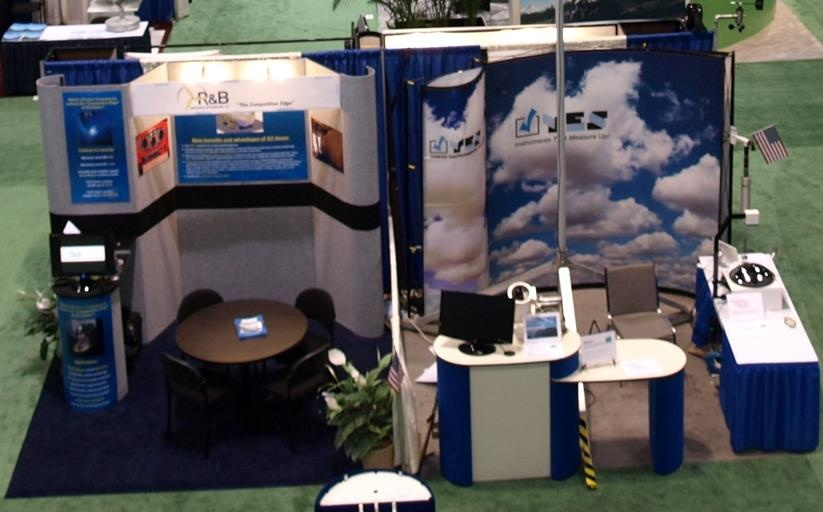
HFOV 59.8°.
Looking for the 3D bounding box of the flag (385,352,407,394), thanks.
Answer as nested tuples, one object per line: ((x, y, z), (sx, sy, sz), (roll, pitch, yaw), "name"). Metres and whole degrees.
((-0.152, 1.217, 7.181), (0.163, 0.375, 0.334), (-2, 25, -3), "flag")

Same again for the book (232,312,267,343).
((-1.857, 0.841, 8.259), (0.268, 0.075, 0.267), (-5, 45, -18), "book")

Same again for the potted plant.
((-0.577, 1.723, 7.484), (0.806, 1.134, 0.732), (-23, 33, -30), "potted plant")

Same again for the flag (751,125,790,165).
((4.273, -1.327, 8.591), (0.383, 0.482, 0.252), (11, 27, 23), "flag")

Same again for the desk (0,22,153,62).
((-6.709, -4.185, 14.102), (3.151, 0.658, 0.895), (6, 26, 13), "desk")

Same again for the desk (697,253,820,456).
((3.714, 1.163, 7.800), (0.953, 0.968, 2.003), (-5, 48, 4), "desk")

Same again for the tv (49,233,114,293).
((-3.669, 0.099, 8.290), (0.708, 0.702, 0.663), (1, 16, -3), "tv")

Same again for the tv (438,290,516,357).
((0.651, 0.701, 7.089), (0.626, 0.451, 0.227), (2, 4, 9), "tv")
